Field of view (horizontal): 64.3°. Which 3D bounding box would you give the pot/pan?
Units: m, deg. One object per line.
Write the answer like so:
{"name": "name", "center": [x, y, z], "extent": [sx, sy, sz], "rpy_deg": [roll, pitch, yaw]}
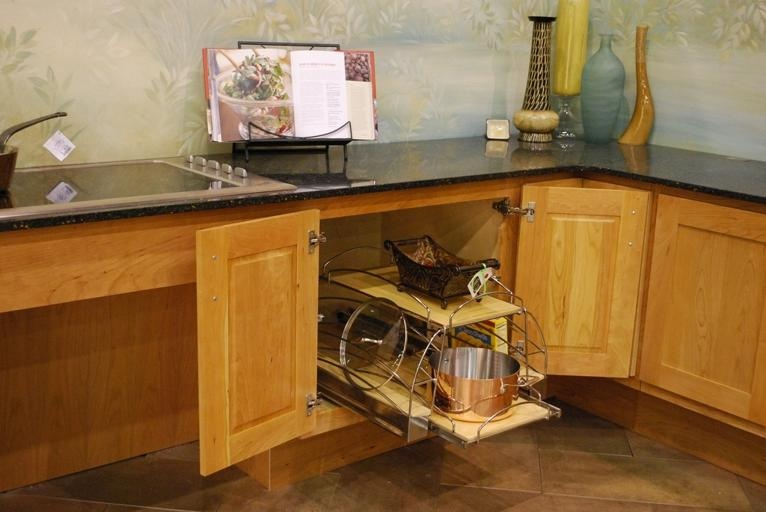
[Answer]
{"name": "pot/pan", "center": [0.352, 0.467, 2.252], "extent": [0.293, 0.113, 0.329], "rpy_deg": [-14, 21, -40]}

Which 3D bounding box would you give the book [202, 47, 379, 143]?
{"name": "book", "center": [-0.367, -0.687, 2.560], "extent": [0.828, 0.380, 0.039], "rpy_deg": [-13, 18, -39]}

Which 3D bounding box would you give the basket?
{"name": "basket", "center": [0.227, 0.056, 2.491], "extent": [0.236, 0.148, 0.433], "rpy_deg": [-13, 24, -38]}
